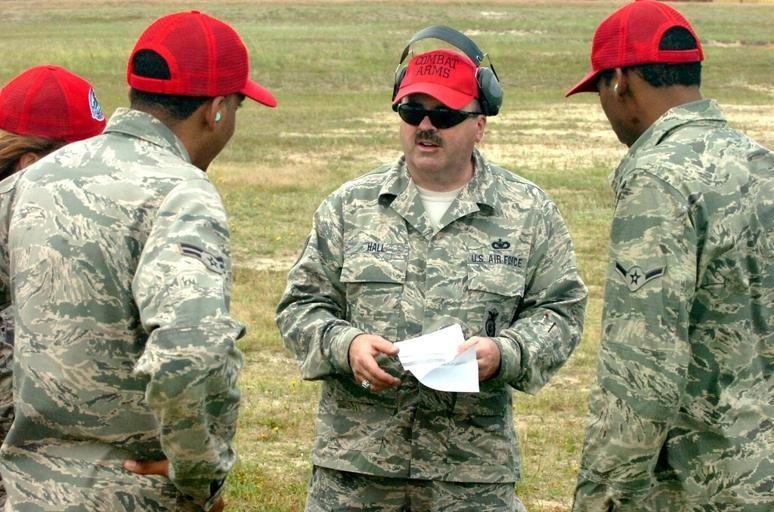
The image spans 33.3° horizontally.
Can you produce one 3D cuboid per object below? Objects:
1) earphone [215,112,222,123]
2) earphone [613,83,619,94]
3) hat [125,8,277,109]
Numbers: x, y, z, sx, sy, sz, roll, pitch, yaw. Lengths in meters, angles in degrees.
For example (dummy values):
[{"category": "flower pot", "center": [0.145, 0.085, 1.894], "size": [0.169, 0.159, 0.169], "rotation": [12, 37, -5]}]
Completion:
[{"category": "earphone", "center": [-0.931, -0.762, 7.067], "size": [0.011, 0.042, 0.045], "rotation": [11, -10, 12]}, {"category": "earphone", "center": [1.310, -0.960, 7.387], "size": [0.038, 0.047, 0.042], "rotation": [-4, 43, 8]}, {"category": "hat", "center": [-1.019, -1.101, 7.088], "size": [0.656, 0.336, 0.440], "rotation": [-1, 13, -41]}]
